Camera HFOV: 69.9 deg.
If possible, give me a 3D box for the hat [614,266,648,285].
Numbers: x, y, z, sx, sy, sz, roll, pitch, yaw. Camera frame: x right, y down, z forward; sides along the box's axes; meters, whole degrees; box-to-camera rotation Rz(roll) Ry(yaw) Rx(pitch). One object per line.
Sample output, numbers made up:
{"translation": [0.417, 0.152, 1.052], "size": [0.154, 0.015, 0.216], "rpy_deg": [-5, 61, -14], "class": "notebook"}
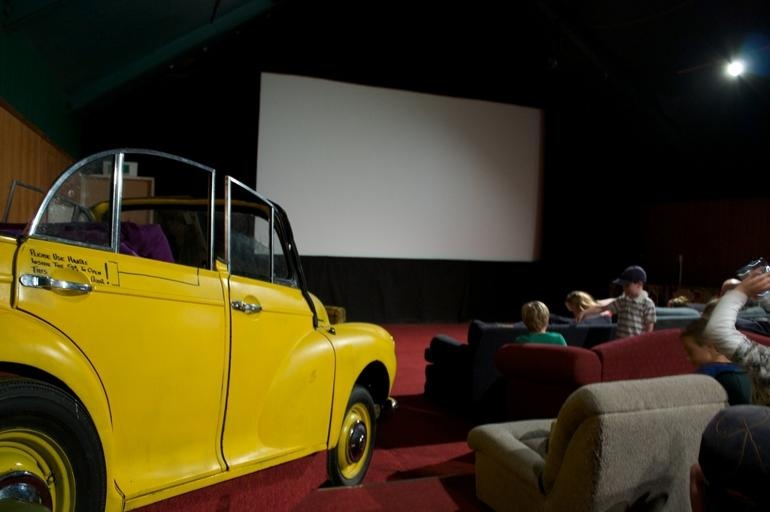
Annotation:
{"translation": [2.776, 0.217, 6.206], "size": [0.250, 0.196, 0.243], "rpy_deg": [-3, -5, 14], "class": "hat"}
